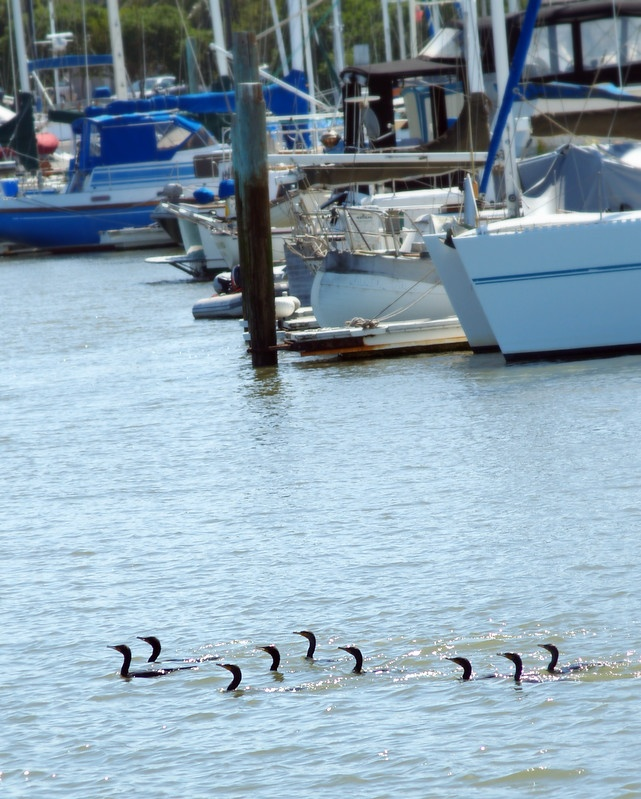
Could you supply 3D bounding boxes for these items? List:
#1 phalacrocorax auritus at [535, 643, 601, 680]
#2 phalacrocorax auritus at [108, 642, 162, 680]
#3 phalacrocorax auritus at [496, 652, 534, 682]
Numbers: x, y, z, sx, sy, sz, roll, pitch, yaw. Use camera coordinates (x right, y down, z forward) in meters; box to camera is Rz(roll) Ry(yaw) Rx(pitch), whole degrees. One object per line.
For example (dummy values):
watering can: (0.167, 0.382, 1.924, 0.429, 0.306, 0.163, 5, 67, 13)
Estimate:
phalacrocorax auritus: (1.195, 1.299, 8.633, 0.349, 0.190, 0.115, -7, 0, -16)
phalacrocorax auritus: (-0.962, 1.334, 9.005, 0.191, 0.186, 0.290, -14, 14, -30)
phalacrocorax auritus: (0.964, 1.298, 8.677, 0.157, 0.133, 0.313, -6, 12, 4)
